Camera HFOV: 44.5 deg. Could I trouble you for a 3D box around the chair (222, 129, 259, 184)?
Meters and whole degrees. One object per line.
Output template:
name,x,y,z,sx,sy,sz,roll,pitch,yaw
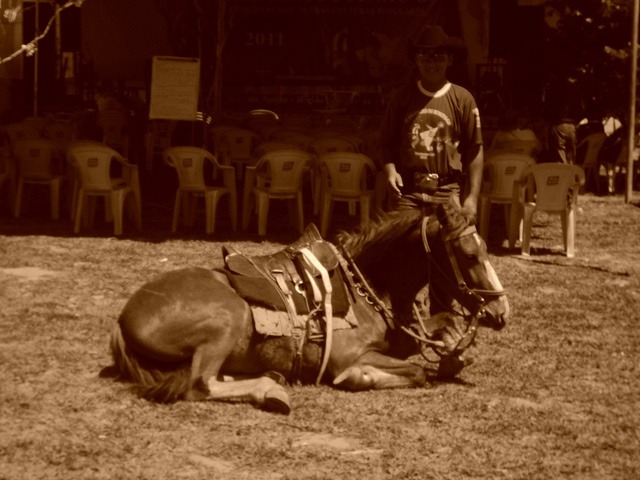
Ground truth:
chair,-1.546,-1.725,14.768,0.680,1.282,0.915,0,29,-6

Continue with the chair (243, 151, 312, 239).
chair,-0.599,-0.713,11.420,0.818,1.392,0.858,-5,16,-30

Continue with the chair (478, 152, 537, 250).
chair,2.546,-0.614,11.154,0.759,1.414,0.964,2,15,-16

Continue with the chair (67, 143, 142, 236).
chair,-3.080,-0.767,11.190,0.918,1.397,1.005,13,20,34

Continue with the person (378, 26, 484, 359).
person,0.941,-0.354,6.773,0.792,2.974,0.820,7,26,17

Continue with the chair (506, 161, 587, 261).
chair,3.002,-0.489,10.703,0.999,1.802,1.156,1,12,2

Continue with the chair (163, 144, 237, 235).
chair,-1.764,-0.750,11.485,0.841,1.374,0.913,2,11,10

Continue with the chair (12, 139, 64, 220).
chair,-4.424,-0.925,12.272,0.630,1.291,0.845,0,-1,-22

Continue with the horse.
horse,-0.113,0.600,6.193,2.751,1.778,1.102,0,-16,-2
